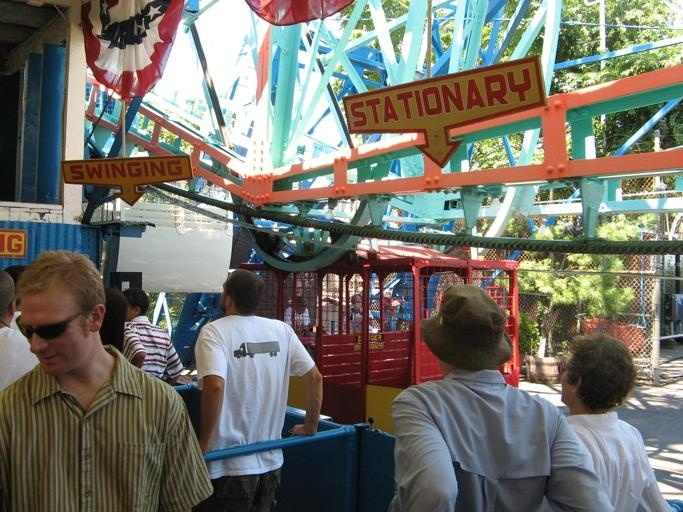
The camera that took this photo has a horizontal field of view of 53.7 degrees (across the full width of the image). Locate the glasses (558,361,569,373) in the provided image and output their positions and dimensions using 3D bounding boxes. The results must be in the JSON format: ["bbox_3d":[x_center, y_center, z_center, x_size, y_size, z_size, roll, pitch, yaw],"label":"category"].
[{"bbox_3d":[1.293,0.640,3.901,0.060,0.067,0.051,-7,1,-2],"label":"glasses"}]

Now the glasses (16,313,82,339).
[{"bbox_3d":[-1.462,0.335,3.288,0.314,0.137,0.097,2,-4,10],"label":"glasses"}]

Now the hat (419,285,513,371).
[{"bbox_3d":[0.677,0.294,3.568,0.497,0.333,0.643,3,24,-4],"label":"hat"}]
